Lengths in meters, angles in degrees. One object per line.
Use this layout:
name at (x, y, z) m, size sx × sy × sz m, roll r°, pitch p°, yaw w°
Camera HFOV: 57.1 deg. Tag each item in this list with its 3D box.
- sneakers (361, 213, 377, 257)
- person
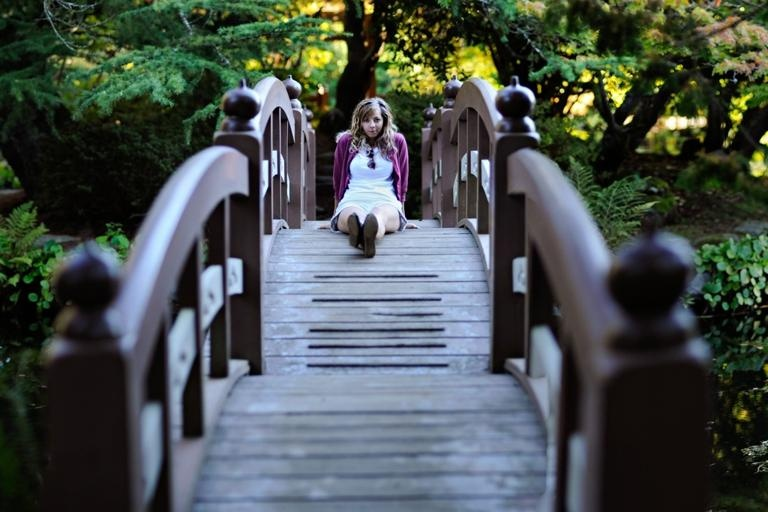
sneakers at (-0.072, -0.123, 4.065) m, size 0.075 × 0.255 × 0.102 m, roll 3°, pitch 3°, yaw 3°
person at (-0.106, -0.578, 4.864) m, size 0.665 × 0.980 × 1.478 m, roll 0°, pitch 11°, yaw 0°
